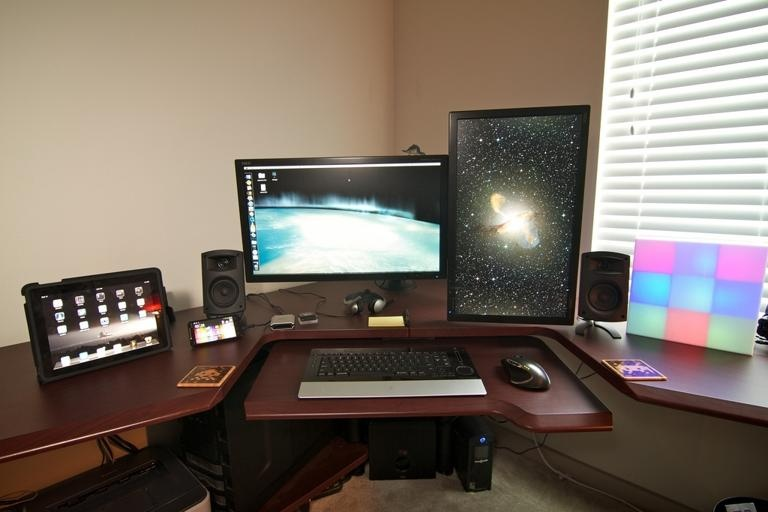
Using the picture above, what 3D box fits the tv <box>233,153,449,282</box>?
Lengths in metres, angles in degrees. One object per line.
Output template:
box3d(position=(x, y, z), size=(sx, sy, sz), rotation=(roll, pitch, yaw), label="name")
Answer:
box3d(position=(-0.170, -0.168, 2.332), size=(0.893, 0.534, 0.131), rotation=(-3, 13, 4), label="tv")
